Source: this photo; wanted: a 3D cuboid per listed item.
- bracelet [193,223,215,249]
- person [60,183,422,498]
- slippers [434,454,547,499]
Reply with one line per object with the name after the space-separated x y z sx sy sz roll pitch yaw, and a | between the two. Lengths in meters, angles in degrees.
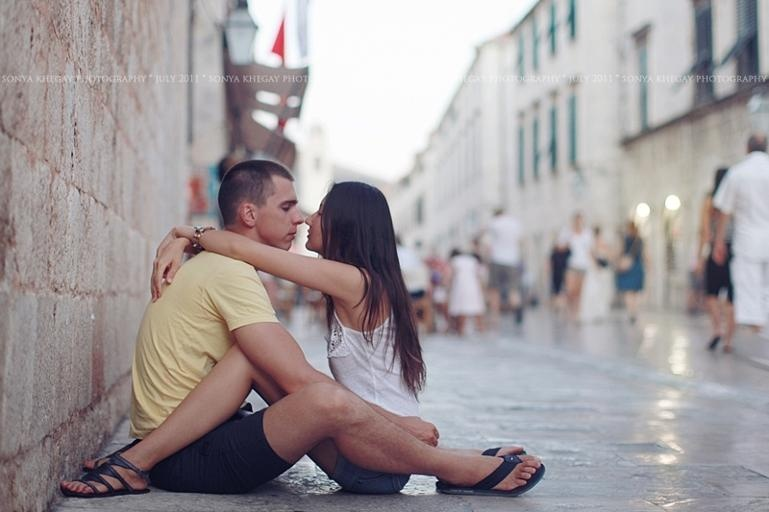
-0.848 -0.093 4.052 0.077 0.130 0.116 12 -8 2 | bracelet
-0.602 0.404 4.296 1.597 1.543 1.173 0 -3 1 | person
0.522 1.060 4.009 0.337 0.123 0.237 -1 -1 -1 | slippers
